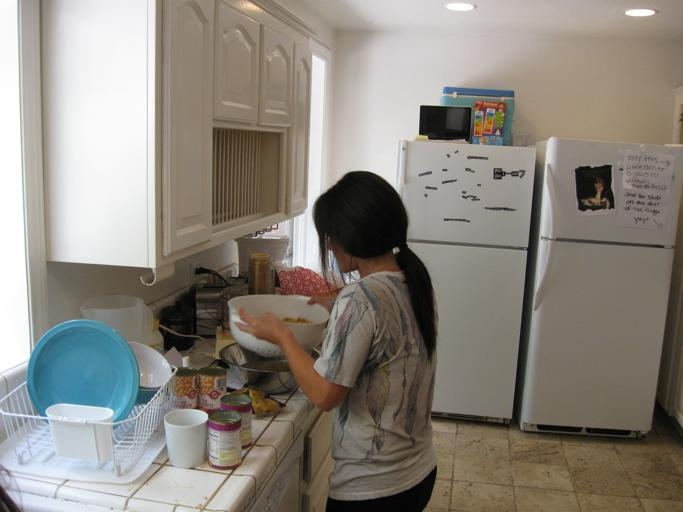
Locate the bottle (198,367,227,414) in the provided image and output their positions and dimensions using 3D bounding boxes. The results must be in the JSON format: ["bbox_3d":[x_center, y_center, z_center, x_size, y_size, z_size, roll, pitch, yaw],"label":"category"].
[{"bbox_3d":[-0.422,0.446,1.745,0.113,0.146,0.122,2,10,0],"label":"bottle"}]

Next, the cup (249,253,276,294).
[{"bbox_3d":[-0.378,0.083,2.485,0.154,0.303,0.159,0,1,0],"label":"cup"}]

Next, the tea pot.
[{"bbox_3d":[-0.810,0.227,1.857,0.215,0.184,0.165,6,-4,-32],"label":"tea pot"}]

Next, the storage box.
[{"bbox_3d":[1.071,-1.110,4.023,0.556,0.573,0.347,2,5,2],"label":"storage box"}]

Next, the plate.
[{"bbox_3d":[-0.771,0.333,1.550,0.282,0.334,0.073,-5,10,-7],"label":"plate"}]

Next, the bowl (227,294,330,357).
[{"bbox_3d":[-0.217,0.238,2.038,0.262,0.138,0.264,12,4,-1],"label":"bowl"}]

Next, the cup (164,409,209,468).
[{"bbox_3d":[-0.441,0.528,1.530,0.109,0.128,0.157,2,9,6],"label":"cup"}]

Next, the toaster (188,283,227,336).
[{"bbox_3d":[-0.627,0.226,2.524,0.162,0.287,0.310,1,11,-1],"label":"toaster"}]

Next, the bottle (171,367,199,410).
[{"bbox_3d":[-0.514,0.433,1.726,0.104,0.129,0.103,0,6,-44],"label":"bottle"}]
